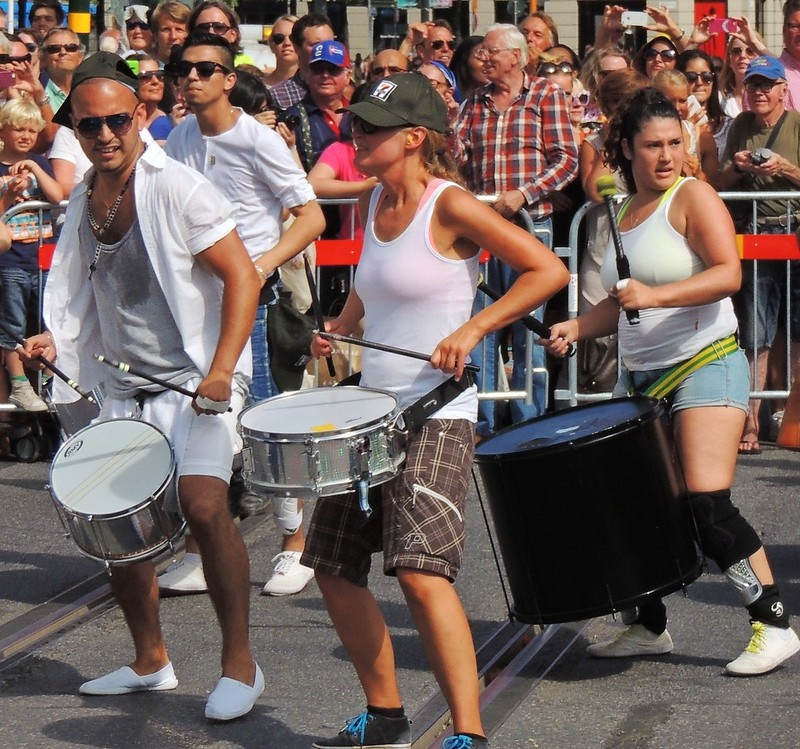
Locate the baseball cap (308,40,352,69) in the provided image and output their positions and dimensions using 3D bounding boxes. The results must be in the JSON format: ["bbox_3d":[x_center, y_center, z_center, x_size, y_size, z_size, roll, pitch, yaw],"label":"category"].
[{"bbox_3d":[-0.467,-2.135,8.948,0.213,0.123,0.274,0,-6,12],"label":"baseball cap"}]

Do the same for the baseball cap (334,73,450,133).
[{"bbox_3d":[-0.007,-0.855,4.205,0.294,0.124,0.187,-5,22,-28],"label":"baseball cap"}]

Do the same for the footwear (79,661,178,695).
[{"bbox_3d":[-0.970,1.073,4.788,0.343,0.080,0.117,0,-1,-8],"label":"footwear"}]

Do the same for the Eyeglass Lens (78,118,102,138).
[{"bbox_3d":[-1.048,-0.837,4.526,0.083,0.065,0.030,-1,10,10],"label":"Eyeglass Lens"}]

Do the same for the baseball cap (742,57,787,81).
[{"bbox_3d":[2.265,-1.895,8.279,0.195,0.108,0.250,-3,-6,21],"label":"baseball cap"}]

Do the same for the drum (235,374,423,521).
[{"bbox_3d":[-0.251,0.209,4.179,0.493,0.295,0.599,-5,14,-9],"label":"drum"}]

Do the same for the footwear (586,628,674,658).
[{"bbox_3d":[0.885,1.004,5.063,0.348,0.104,0.111,-1,-3,-3],"label":"footwear"}]

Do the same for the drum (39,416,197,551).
[{"bbox_3d":[-0.938,0.361,4.388,0.527,0.299,0.417,-6,46,4],"label":"drum"}]

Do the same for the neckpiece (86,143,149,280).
[{"bbox_3d":[-1.034,-0.561,4.632,0.295,0.431,0.058,7,-17,47],"label":"neckpiece"}]

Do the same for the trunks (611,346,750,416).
[{"bbox_3d":[1.067,0.023,5.098,0.345,0.281,0.638,-5,0,-38],"label":"trunks"}]

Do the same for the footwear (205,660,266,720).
[{"bbox_3d":[-0.555,1.073,4.566,0.119,0.072,0.232,4,15,24],"label":"footwear"}]

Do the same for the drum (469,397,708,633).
[{"bbox_3d":[0.818,0.544,4.882,0.931,0.760,0.849,-8,3,31],"label":"drum"}]

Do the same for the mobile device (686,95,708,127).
[{"bbox_3d":[1.977,-1.761,8.935,0.071,0.220,0.228,-25,49,-6],"label":"mobile device"}]

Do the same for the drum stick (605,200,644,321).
[{"bbox_3d":[0.805,-0.434,4.906,0.107,0.496,0.084,-19,-24,15],"label":"drum stick"}]

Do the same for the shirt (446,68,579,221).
[{"bbox_3d":[0.717,-1.468,8.456,1.004,0.792,0.546,12,29,43],"label":"shirt"}]

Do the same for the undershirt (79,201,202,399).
[{"bbox_3d":[-0.861,-0.225,4.809,0.392,0.683,0.468,-5,4,-28],"label":"undershirt"}]

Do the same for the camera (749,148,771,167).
[{"bbox_3d":[2.185,-1.330,8.120,0.132,0.041,0.091,-30,42,-24],"label":"camera"}]

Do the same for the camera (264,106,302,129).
[{"bbox_3d":[-0.714,-1.627,8.447,0.234,0.180,0.132,6,28,40],"label":"camera"}]

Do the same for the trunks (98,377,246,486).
[{"bbox_3d":[-0.751,0.219,4.553,0.491,0.389,0.139,12,-2,20],"label":"trunks"}]

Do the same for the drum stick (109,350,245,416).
[{"bbox_3d":[-0.773,0.022,4.599,0.554,0.078,0.075,18,-1,-6],"label":"drum stick"}]
